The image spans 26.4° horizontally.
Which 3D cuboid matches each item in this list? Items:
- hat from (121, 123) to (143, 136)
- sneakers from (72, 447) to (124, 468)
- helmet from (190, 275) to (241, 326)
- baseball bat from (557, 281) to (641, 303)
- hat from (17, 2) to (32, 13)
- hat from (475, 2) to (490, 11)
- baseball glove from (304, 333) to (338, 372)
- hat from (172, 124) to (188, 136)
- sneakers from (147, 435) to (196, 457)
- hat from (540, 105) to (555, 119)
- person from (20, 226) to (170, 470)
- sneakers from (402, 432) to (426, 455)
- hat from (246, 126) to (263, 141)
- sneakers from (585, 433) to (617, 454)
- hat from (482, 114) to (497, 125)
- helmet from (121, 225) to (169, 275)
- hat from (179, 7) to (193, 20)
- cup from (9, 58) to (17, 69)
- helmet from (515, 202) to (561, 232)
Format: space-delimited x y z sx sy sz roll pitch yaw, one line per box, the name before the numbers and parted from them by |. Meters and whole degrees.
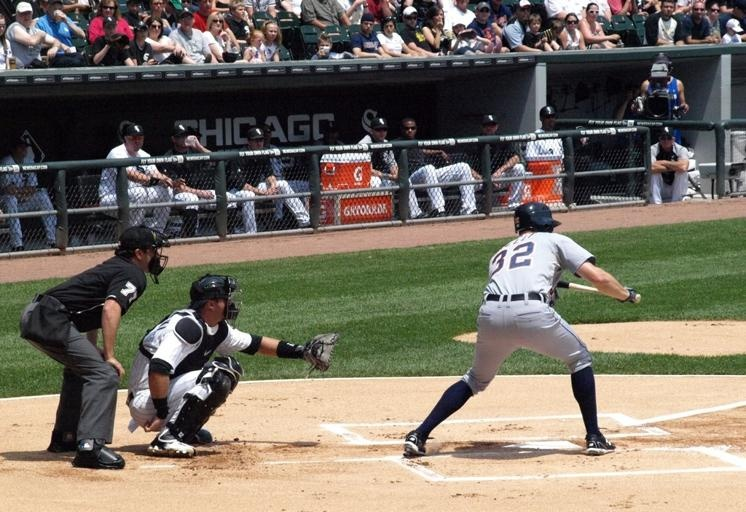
hat | -3.760 -1.979 25.031 0.296 0.235 0.468 -3 2 -19
sneakers | -2.910 2.196 17.030 0.470 0.177 0.227 -1 7 -3
helmet | -1.732 0.459 17.530 0.560 0.459 0.470 -8 13 -9
baseball bat | 2.797 0.468 19.598 0.746 0.154 0.169 15 18 11
hat | -5.574 -3.990 25.598 0.237 0.245 0.657 -3 2 -12
hat | 1.998 -4.504 28.863 0.322 0.138 0.443 0 2 -3
baseball glove | -0.565 1.085 17.863 0.367 0.447 0.219 4 -12 10
hat | -3.064 -1.975 25.471 0.223 0.168 0.304 -3 2 -10
sneakers | -2.176 2.110 17.410 0.527 0.234 0.210 -1 -1 0
hat | 3.073 -2.510 28.050 0.259 0.229 0.385 -2 2 3
person | -3.024 1.017 17.326 1.509 2.601 0.756 -3 2 -12
sneakers | 0.445 2.072 17.279 0.151 0.148 0.336 2 -15 13
hat | -1.894 -1.960 26.021 0.294 0.195 0.401 -4 4 -21
sneakers | 2.457 2.085 17.265 0.156 0.159 0.382 -3 -3 42
hat | 1.996 -2.306 27.326 0.257 0.107 0.347 0 3 0
helmet | -2.493 -0.086 17.648 0.611 0.492 0.445 -8 16 -23
hat | -3.087 -4.002 26.483 0.220 0.178 0.358 -3 2 -23
cup | -5.711 -3.055 25.353 0.133 0.117 0.217 7 -38 -6
helmet | 1.804 -0.412 17.659 0.443 0.230 0.327 -1 0 6
